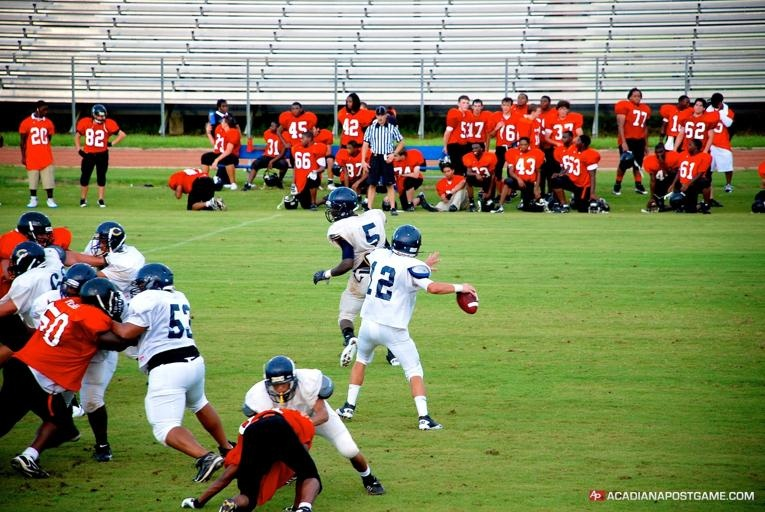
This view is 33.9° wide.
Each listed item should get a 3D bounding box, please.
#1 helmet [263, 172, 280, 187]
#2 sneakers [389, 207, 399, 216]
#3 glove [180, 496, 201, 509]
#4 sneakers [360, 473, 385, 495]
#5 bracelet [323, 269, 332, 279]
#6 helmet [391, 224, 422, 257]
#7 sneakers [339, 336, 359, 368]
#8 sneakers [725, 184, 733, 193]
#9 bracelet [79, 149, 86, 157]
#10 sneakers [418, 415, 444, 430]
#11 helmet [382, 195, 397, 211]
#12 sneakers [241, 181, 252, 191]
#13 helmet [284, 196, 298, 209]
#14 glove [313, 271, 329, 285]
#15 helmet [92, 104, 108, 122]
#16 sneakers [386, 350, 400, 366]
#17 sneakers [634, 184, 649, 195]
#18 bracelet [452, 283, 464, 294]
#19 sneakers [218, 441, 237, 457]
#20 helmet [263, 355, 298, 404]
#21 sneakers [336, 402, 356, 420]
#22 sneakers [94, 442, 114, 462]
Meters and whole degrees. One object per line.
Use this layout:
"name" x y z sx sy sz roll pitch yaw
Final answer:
"helmet" -2.540 -1.759 29.140 0.391 0.350 0.275 -2 9 -35
"sneakers" 0.237 -0.914 25.735 0.191 0.194 0.492 -3 3 -13
"glove" -2.546 3.243 16.727 0.241 0.096 0.124 16 1 5
"sneakers" -0.133 3.025 16.879 0.384 0.165 0.174 20 14 31
"bracelet" -0.778 0.273 18.830 0.116 0.139 0.145 13 8 -40
"helmet" 0.384 -0.251 17.984 0.393 0.369 0.454 18 26 -11
"sneakers" -0.511 1.395 18.556 0.246 0.508 0.198 20 -3 16
"sneakers" 7.649 -1.497 27.675 0.141 0.067 0.225 3 22 12
"bracelet" -6.308 -2.159 26.471 0.059 0.139 0.188 -2 2 -41
"sneakers" 0.653 2.303 17.609 0.433 0.227 0.143 -3 9 -4
"helmet" 0.103 -1.053 26.049 0.326 0.261 0.228 -8 16 15
"sneakers" -3.165 -1.613 29.176 0.205 0.202 0.509 1 10 -8
"helmet" -1.947 -1.170 27.094 0.352 0.294 0.242 12 18 7
"glove" -0.943 0.312 18.881 0.291 0.119 0.176 -5 27 -14
"helmet" -6.003 -2.984 26.559 0.267 0.364 0.463 3 4 -15
"sneakers" 0.137 1.533 18.934 0.125 0.132 0.335 -5 10 -22
"sneakers" 5.753 -1.457 27.756 0.128 0.138 0.329 -5 10 -12
"bracelet" 1.084 0.449 17.953 0.233 0.095 0.259 3 -6 3
"sneakers" -2.141 2.594 17.346 0.140 0.151 0.382 4 16 7
"helmet" -1.359 1.619 16.688 0.485 0.537 0.609 -10 22 3
"sneakers" -0.503 2.163 17.758 0.165 0.193 0.299 8 5 -20
"sneakers" -3.819 2.645 17.339 0.307 0.364 0.239 0 7 -4
